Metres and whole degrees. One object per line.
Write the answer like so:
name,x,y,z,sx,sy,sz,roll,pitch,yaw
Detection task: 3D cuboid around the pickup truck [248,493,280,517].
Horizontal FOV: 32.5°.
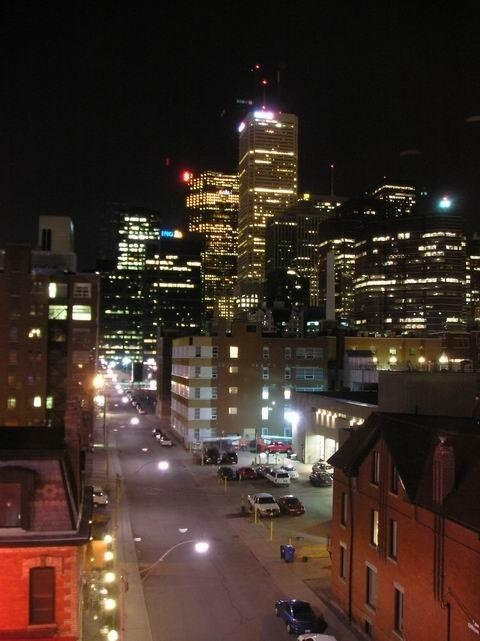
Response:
pickup truck,1.496,11.836,52.501,1.566,1.286,2.624,-1,0,-15

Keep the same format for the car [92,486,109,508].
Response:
car,-9.206,11.937,54.864,0.917,1.266,2.061,-1,0,-9

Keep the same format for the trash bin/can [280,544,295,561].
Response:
trash bin/can,2.407,11.970,42.343,0.711,0.843,1.145,-1,0,3

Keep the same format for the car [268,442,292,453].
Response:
car,3.686,12.211,78.367,2.160,0.975,2.129,-1,0,0

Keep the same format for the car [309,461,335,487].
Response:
car,6.124,12.353,64.195,1.713,1.433,4.029,0,-2,-10

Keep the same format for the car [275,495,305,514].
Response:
car,3.113,11.908,52.544,1.176,1.126,1.829,-1,0,-24
